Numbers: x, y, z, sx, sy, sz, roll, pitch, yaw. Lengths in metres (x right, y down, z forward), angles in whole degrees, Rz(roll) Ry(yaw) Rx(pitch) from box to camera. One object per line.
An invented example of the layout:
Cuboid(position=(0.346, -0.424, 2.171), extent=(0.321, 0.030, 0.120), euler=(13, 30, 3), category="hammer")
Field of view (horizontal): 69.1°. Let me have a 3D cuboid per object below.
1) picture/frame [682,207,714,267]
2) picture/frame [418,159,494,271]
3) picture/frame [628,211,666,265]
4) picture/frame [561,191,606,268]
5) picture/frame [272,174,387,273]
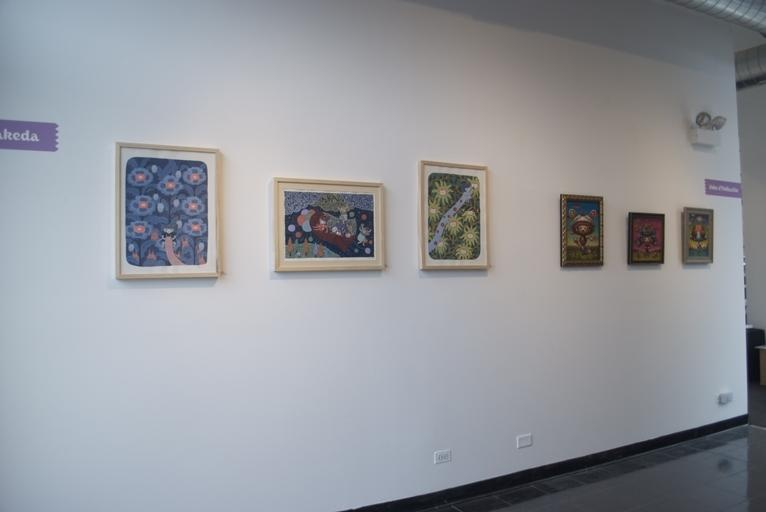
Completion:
Cuboid(position=(3.776, -0.224, 6.707), extent=(0.671, 0.893, 0.090), euler=(1, -2, -37), category="picture/frame")
Cuboid(position=(0.667, -0.381, 5.383), extent=(0.982, 1.388, 0.139), euler=(2, -7, -27), category="picture/frame")
Cuboid(position=(2.991, -0.200, 6.349), extent=(0.578, 0.616, 0.066), euler=(2, 0, -34), category="picture/frame")
Cuboid(position=(2.129, -0.273, 5.981), extent=(0.756, 0.980, 0.067), euler=(1, 0, -28), category="picture/frame")
Cuboid(position=(-0.529, -0.281, 4.983), extent=(0.842, 0.725, 0.044), euler=(0, -5, -21), category="picture/frame")
